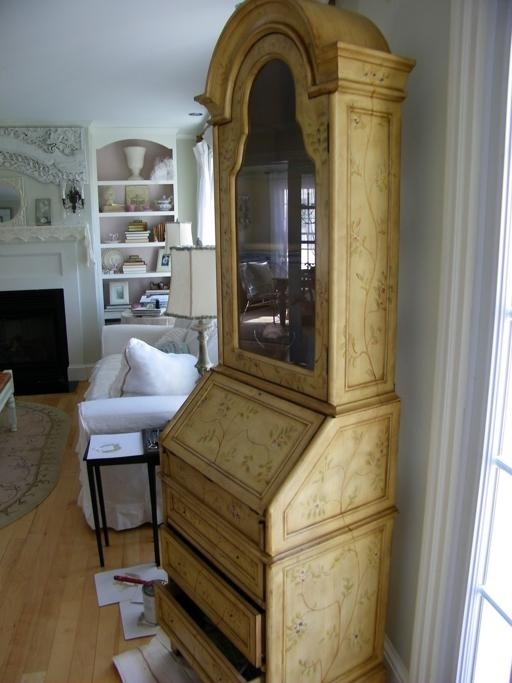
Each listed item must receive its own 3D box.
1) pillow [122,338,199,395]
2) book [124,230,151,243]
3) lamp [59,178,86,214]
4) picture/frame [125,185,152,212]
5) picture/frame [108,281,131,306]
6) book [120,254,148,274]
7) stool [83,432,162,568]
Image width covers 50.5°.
[{"bbox_3d":[-0.444,0.130,2.563,0.282,0.313,0.128,5,-16,-22],"label":"pillow"},{"bbox_3d":[-1.116,-0.994,5.142,0.213,0.106,0.079,-3,11,-13],"label":"book"},{"bbox_3d":[-1.551,-1.244,4.631,0.190,0.283,0.134,-4,11,-19],"label":"lamp"},{"bbox_3d":[-1.135,-1.381,5.210,0.263,0.363,0.045,1,6,-14],"label":"picture/frame"},{"bbox_3d":[-1.322,-0.472,5.251,0.223,0.324,0.025,-1,1,-15],"label":"picture/frame"},{"bbox_3d":[-1.162,-0.748,5.216,0.233,0.164,0.271,-3,11,-11],"label":"book"},{"bbox_3d":[-0.531,0.638,2.242,0.299,0.553,0.517,-3,11,-12],"label":"stool"}]
